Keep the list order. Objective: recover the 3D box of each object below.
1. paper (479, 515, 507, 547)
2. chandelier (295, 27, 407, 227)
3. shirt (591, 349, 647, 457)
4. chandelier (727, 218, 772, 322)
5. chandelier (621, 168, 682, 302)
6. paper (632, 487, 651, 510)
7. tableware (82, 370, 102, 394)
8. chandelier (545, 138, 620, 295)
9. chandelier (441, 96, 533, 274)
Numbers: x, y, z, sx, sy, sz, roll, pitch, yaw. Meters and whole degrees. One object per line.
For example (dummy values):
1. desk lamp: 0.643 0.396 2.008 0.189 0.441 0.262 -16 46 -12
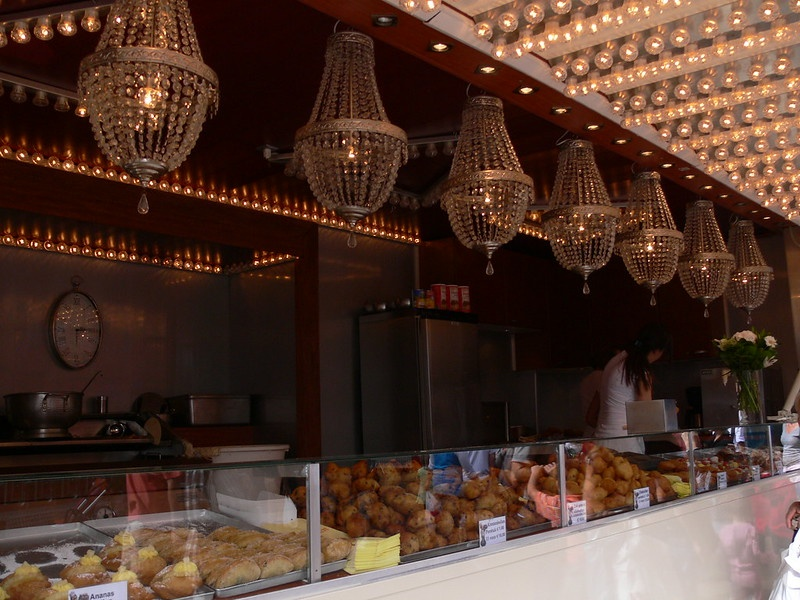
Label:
1. paper: 0.302 0.760 2.110 0.004 0.072 0.105 -12 -16 43
2. chandelier: -0.206 -0.724 2.582 0.454 0.829 0.336 -1 -9 -1
3. shirt: 1.430 0.688 4.009 0.251 0.761 0.280 29 -34 -31
4. chandelier: 2.650 -0.302 4.901 0.309 0.713 0.389 -6 -10 27
5. chandelier: 1.492 -0.440 3.850 0.365 0.786 0.387 -5 -10 23
6. paper: 0.998 0.823 2.656 0.099 0.068 0.005 9 -12 -44
7. tableware: -2.450 0.655 5.091 0.046 0.179 0.151 -5 -10 24
8. chandelier: 0.961 -0.460 3.406 0.375 0.846 0.378 -4 -9 18
9. chandelier: 0.390 -0.596 2.933 0.420 0.802 0.323 -3 -9 7
